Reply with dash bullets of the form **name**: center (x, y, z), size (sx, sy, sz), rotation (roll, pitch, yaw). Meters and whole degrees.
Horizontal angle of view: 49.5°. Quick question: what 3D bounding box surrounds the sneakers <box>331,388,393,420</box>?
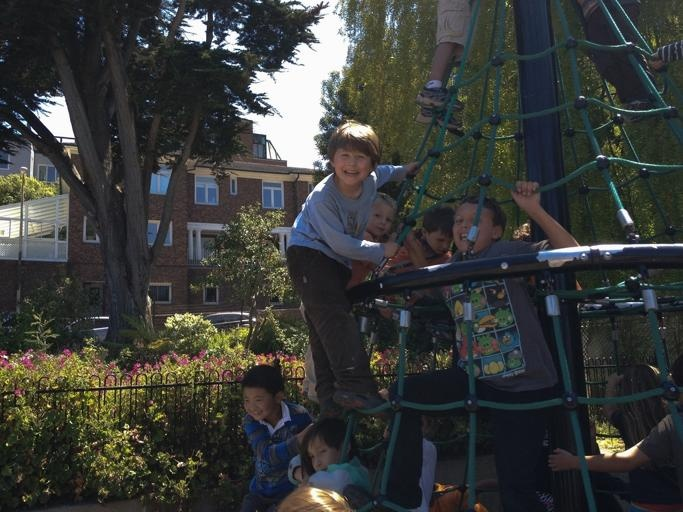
- **sneakers**: center (0.162, 1.114, 5.589), size (0.302, 0.178, 0.248), rotation (5, -12, 7)

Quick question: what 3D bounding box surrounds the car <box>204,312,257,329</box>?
- **car**: center (-3.889, 2.313, 26.168), size (1.863, 0.714, 0.919), rotation (3, -1, 8)

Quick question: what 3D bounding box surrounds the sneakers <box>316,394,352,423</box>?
- **sneakers**: center (-0.076, 1.276, 6.074), size (0.269, 0.305, 0.220), rotation (-9, -8, 27)
